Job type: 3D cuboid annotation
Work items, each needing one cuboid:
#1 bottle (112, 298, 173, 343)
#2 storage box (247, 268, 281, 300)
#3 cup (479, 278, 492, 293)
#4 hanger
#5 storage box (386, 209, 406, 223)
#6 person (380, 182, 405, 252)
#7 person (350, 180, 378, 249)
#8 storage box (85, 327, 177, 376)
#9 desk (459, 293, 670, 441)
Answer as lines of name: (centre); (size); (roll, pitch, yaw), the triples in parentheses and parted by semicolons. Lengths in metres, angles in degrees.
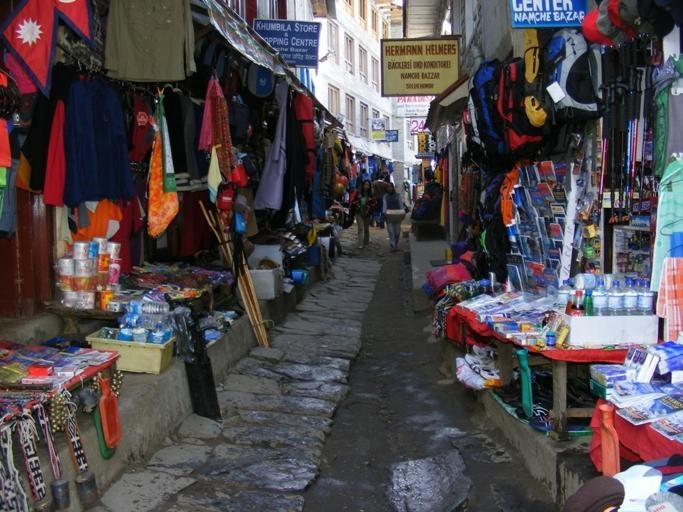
bottle: (-1.819, 0.624, 5.669); (0.375, 0.164, 0.413); (5, 32, -13)
storage box: (-1.149, 0.390, 9.023); (0.399, 0.452, 0.427); (0, 14, 3)
cup: (1.708, 0.349, 7.246); (0.132, 0.123, 0.289); (5, 9, 12)
hanger: (-2.275, -1.784, 6.154); (0.349, 0.279, 1.201); (6, 10, 18)
storage box: (1.457, -1.071, 16.536); (0.515, 0.419, 0.531); (5, 9, 15)
person: (1.366, -1.125, 16.708); (0.555, 1.944, 0.744); (5, 11, 9)
person: (0.613, -1.191, 16.849); (0.541, 1.881, 0.691); (3, 13, -8)
storage box: (-1.944, 0.868, 5.589); (0.727, 0.334, 0.294); (4, 9, 3)
desk: (1.688, 0.745, 5.078); (1.129, 0.779, 2.072); (4, 9, 2)
